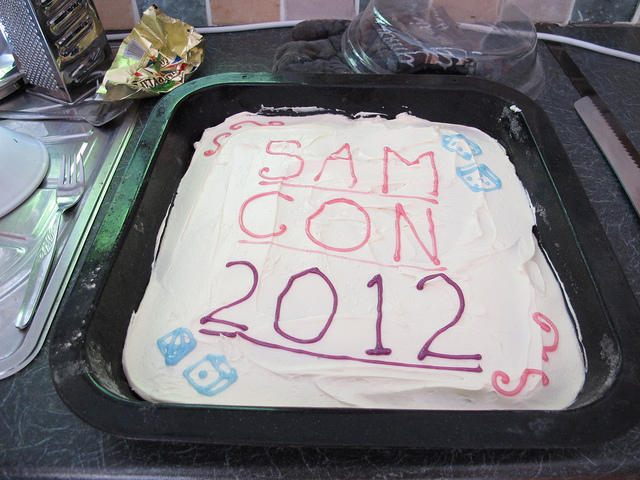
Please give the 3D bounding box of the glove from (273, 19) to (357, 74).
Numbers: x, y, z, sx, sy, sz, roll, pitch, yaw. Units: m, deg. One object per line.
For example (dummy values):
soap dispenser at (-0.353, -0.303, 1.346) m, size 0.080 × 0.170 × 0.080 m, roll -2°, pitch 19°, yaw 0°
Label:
glove at (-0.011, -0.558, 1.675) m, size 0.221 × 0.077 × 0.224 m, roll -13°, pitch 47°, yaw -9°
